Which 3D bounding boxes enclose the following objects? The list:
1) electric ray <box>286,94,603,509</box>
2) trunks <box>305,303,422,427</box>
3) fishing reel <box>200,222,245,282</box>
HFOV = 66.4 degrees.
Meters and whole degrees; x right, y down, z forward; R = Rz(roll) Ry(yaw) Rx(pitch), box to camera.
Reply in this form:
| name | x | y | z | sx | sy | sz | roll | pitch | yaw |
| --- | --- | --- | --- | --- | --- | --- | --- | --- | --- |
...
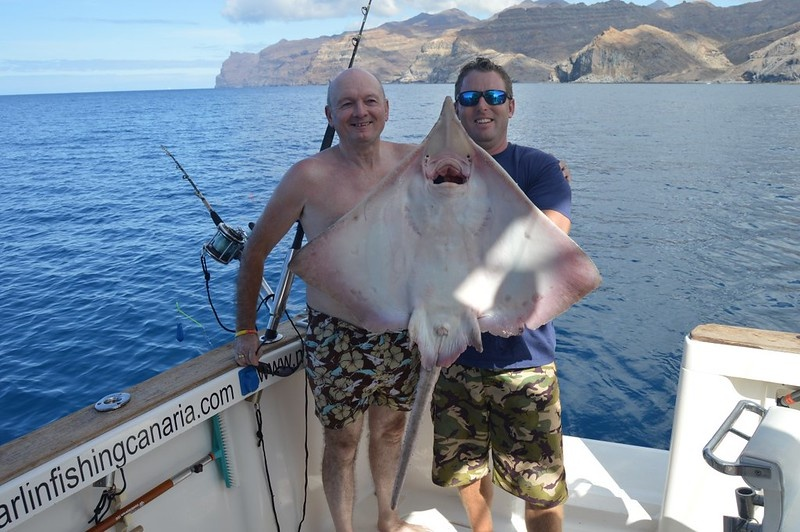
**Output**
| name | x | y | z | sx | sy | sz | roll | pitch | yaw |
| --- | --- | --- | --- | --- | --- | --- | --- | --- | --- |
| electric ray | 0.246 | -0.063 | 3.025 | 1.474 | 2.153 | 0.246 | 7 | 1 | 11 |
| trunks | -0.234 | 0.621 | 3.731 | 0.717 | 0.647 | 0.491 | -4 | 4 | -27 |
| fishing reel | -1.198 | -0.097 | 4.111 | 0.177 | 0.157 | 0.392 | 14 | 47 | 9 |
